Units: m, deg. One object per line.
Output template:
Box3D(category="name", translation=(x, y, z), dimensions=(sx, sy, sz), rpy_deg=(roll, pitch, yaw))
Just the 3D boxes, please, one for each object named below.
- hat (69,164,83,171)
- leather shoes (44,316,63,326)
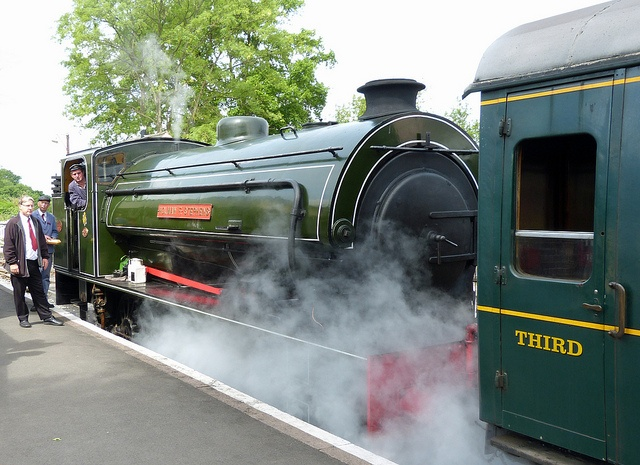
Box3D(category="hat", translation=(-4.485, -1.197, 8.523), dimensions=(0.160, 0.078, 0.191), rpy_deg=(-9, 5, -5))
Box3D(category="leather shoes", translation=(-4.447, 1.491, 7.706), dimensions=(0.322, 0.140, 0.152), rpy_deg=(-1, -1, 7))
